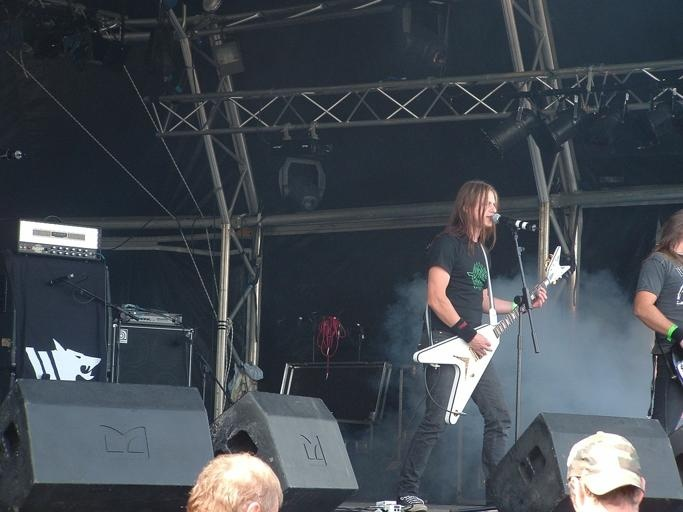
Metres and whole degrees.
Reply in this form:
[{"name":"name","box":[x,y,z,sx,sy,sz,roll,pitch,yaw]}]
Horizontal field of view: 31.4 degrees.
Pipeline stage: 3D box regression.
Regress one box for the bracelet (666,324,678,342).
[{"name":"bracelet","box":[2.277,0.527,8.287,0.067,0.111,0.094,3,-4,23]}]

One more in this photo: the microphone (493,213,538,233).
[{"name":"microphone","box":[1.420,-0.272,9.718,0.362,0.120,0.100,21,41,23]}]

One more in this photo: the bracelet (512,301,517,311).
[{"name":"bracelet","box":[1.267,0.367,8.801,0.036,0.039,0.050,0,-39,4]}]

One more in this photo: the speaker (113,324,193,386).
[{"name":"speaker","box":[-1.651,0.951,10.810,0.735,0.784,0.459,2,4,-7]}]

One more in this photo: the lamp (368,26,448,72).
[{"name":"lamp","box":[0.622,-1.807,10.707,0.464,0.368,0.707,3,-1,-27]}]

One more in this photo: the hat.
[{"name":"hat","box":[1.464,1.126,6.649,0.404,0.335,0.571,-1,-5,-4]}]

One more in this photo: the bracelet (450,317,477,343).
[{"name":"bracelet","box":[0.867,0.514,8.473,0.159,0.159,0.047,45,-9,5]}]

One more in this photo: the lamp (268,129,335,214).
[{"name":"lamp","box":[-0.365,-0.782,11.308,0.549,0.733,1.064,3,-1,-2]}]

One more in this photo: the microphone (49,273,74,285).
[{"name":"microphone","box":[-2.102,0.173,9.161,0.140,0.041,0.039,-21,5,-6]}]
